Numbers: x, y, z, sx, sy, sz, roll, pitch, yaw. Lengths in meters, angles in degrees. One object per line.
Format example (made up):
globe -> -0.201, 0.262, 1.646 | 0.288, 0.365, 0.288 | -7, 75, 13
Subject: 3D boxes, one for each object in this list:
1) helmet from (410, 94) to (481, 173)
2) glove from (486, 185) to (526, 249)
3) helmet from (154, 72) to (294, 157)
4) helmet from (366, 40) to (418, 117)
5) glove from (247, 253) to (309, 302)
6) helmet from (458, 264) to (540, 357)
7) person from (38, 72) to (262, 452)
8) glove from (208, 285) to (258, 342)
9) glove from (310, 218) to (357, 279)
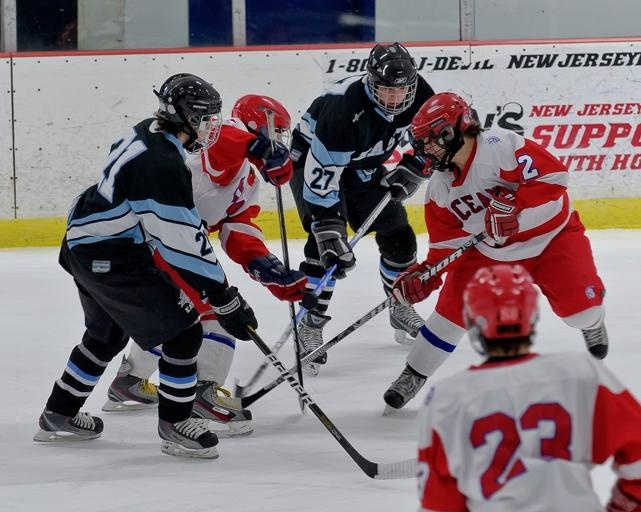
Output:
helmet -> 0.492, -0.494, 3.355 | 0.230, 0.300, 0.188 | -12, 19, -35
glove -> 0.718, -0.158, 3.308 | 0.155, 0.197, 0.089 | 9, 2, 32
helmet -> -0.397, -0.516, 3.073 | 0.312, 0.270, 0.225 | -2, 35, -26
helmet -> 0.326, -0.845, 3.902 | 0.293, 0.308, 0.314 | -8, 50, -4
glove -> -0.180, 0.098, 3.537 | 0.259, 0.146, 0.099 | 39, -3, 15
helmet -> 0.455, 0.140, 2.116 | 0.178, 0.235, 0.165 | 5, 16, 18
person -> -0.633, 0.032, 3.080 | 0.783, 1.339, 0.442 | 4, 17, 14
glove -> -0.305, 0.210, 3.096 | 0.147, 0.214, 0.068 | -36, 18, 8
glove -> 0.085, -0.028, 3.950 | 0.217, 0.262, 0.119 | -18, -22, 20
